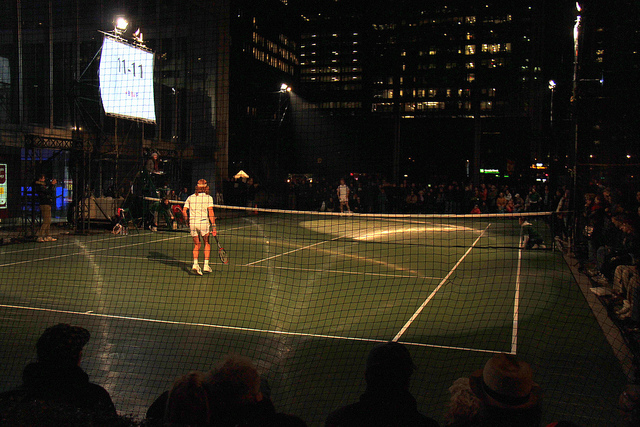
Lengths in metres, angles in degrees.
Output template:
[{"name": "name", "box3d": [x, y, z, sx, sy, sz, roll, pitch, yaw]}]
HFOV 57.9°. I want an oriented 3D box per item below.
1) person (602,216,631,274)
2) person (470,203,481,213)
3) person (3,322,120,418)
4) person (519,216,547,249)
[{"name": "person", "box3d": [7.383, 0.735, 14.391, 0.474, 1.392, 1.439, 1, 4, 19]}, {"name": "person", "box3d": [9.354, -0.369, 34.711, 0.566, 0.387, 1.194, -10, 11, 19]}, {"name": "person", "box3d": [-3.849, 2.318, 8.490, 1.596, 1.333, 0.356, 0, 4, 1]}, {"name": "person", "box3d": [7.836, 0.727, 21.307, 0.903, 1.127, 2.190, 2, 4, 22]}]
